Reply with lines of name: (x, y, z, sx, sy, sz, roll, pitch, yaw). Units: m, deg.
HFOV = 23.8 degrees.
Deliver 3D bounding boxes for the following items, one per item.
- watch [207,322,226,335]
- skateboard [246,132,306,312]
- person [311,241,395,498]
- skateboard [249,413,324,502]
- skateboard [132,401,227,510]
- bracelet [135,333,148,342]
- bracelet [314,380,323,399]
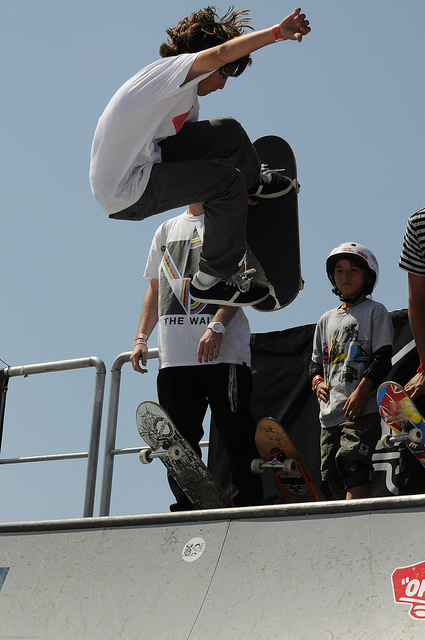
watch: (0.025, 0.041, 5.049, 0.078, 0.048, 0.073, 21, -21, -29)
skateboard: (0.366, -0.591, 5.600, 0.319, 1.086, 0.161, -6, -16, 17)
person: (0.717, 0.235, 5.185, 0.381, 1.343, 0.645, 2, -7, 1)
skateboard: (0.385, 0.813, 5.182, 0.195, 0.137, 0.778, -2, -47, 27)
skateboard: (-0.178, 0.692, 5.081, 0.326, 0.533, 0.447, -4, -10, 44)
bracelet: (-0.366, 0.094, 5.278, 0.054, 0.025, 0.086, -3, 19, -33)
bracelet: (0.550, 0.350, 5.260, 0.039, 0.075, 0.110, 2, -7, 2)
